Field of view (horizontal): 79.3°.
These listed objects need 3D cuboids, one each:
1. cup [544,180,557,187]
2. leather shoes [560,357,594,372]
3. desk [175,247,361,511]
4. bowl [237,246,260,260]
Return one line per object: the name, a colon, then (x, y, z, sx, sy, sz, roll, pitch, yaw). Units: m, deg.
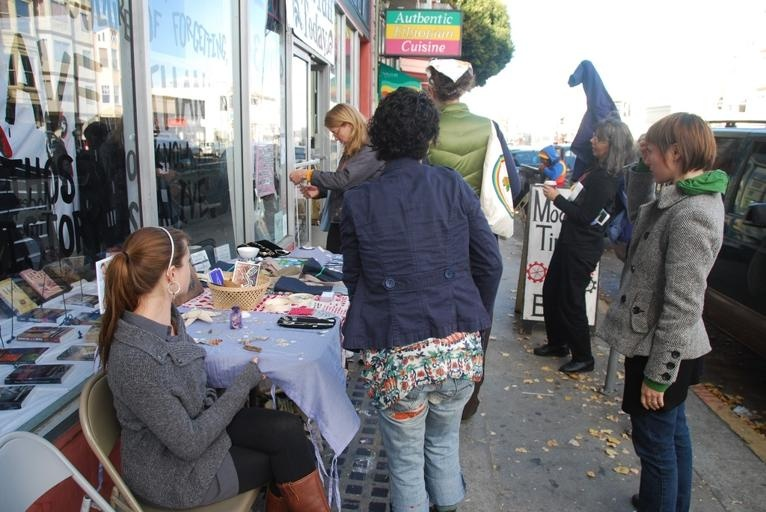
cup: (1.612, -0.694, 4.487, 0.085, 0.049, 0.085, 0, 3, 0)
leather shoes: (1.950, 1.112, 4.713, 0.371, 0.158, 0.134, 2, 4, -3)
desk: (-0.450, 0.597, 2.817, 1.454, 0.758, 1.167, 6, 15, 20)
bowl: (-1.060, -0.020, 3.678, 0.134, 0.086, 0.133, 1, 1, 0)
